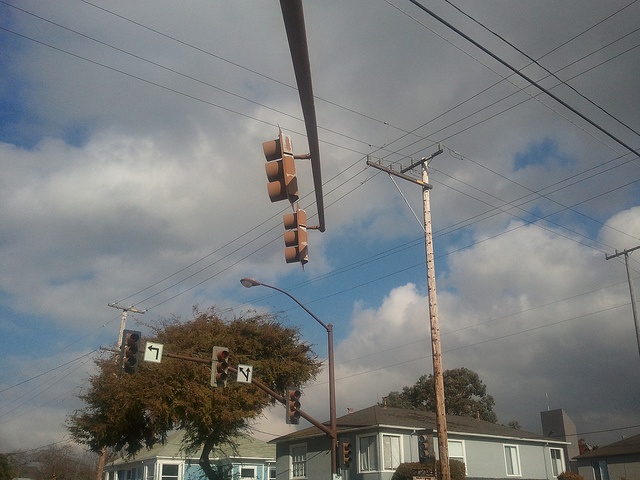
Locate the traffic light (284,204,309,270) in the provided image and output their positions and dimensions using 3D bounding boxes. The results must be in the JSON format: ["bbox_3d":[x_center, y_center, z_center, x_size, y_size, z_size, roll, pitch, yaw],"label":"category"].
[{"bbox_3d":[-0.906,-0.169,22.235,0.846,2.111,0.959,0,-27,2],"label":"traffic light"}]

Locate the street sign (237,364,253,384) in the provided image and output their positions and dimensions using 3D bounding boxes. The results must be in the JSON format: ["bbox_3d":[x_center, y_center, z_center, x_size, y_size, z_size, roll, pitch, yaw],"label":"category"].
[{"bbox_3d":[-3.938,6.859,30.987,0.765,0.924,0.850,5,-28,-9],"label":"street sign"}]

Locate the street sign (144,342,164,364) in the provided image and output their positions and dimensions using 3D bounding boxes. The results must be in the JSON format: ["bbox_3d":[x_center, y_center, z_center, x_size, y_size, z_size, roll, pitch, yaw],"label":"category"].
[{"bbox_3d":[-8.312,5.597,29.633,0.945,1.039,0.922,1,-1,5],"label":"street sign"}]

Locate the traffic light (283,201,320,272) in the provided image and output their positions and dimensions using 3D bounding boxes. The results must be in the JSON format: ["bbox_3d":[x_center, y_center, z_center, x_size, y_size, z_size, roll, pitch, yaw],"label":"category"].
[{"bbox_3d":[-0.722,-0.213,22.435,1.224,1.098,2.457,1,-69,7],"label":"traffic light"}]

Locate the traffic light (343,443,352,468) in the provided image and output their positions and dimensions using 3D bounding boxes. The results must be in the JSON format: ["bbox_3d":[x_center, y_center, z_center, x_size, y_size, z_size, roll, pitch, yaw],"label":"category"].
[{"bbox_3d":[1.533,12.199,33.729,0.436,1.257,0.474,-1,-27,4],"label":"traffic light"}]

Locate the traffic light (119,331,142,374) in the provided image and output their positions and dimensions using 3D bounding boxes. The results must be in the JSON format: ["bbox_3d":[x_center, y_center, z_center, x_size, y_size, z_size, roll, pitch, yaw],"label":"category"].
[{"bbox_3d":[-9.200,5.381,28.569,0.861,1.843,1.330,10,-29,-17],"label":"traffic light"}]

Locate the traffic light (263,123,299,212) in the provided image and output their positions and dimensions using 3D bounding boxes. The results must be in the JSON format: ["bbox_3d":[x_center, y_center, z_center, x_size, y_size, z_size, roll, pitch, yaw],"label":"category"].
[{"bbox_3d":[-1.334,-2.354,20.261,1.032,3.000,1.361,-5,-28,11],"label":"traffic light"}]

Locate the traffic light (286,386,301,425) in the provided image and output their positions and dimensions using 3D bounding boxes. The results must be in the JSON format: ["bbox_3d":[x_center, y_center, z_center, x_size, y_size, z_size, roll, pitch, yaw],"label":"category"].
[{"bbox_3d":[-1.315,8.837,31.813,0.906,1.915,0.581,9,-19,-36],"label":"traffic light"}]

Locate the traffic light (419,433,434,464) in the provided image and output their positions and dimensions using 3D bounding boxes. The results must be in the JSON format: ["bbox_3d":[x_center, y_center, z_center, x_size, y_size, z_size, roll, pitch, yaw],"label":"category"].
[{"bbox_3d":[5.858,11.292,32.453,0.722,1.354,0.901,-3,-28,6],"label":"traffic light"}]

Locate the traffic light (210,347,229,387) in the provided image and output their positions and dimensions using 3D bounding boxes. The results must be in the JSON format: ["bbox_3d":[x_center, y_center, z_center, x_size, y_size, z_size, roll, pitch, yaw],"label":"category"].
[{"bbox_3d":[-5.097,6.274,30.118,0.823,2.107,1.026,6,-28,-10],"label":"traffic light"}]
